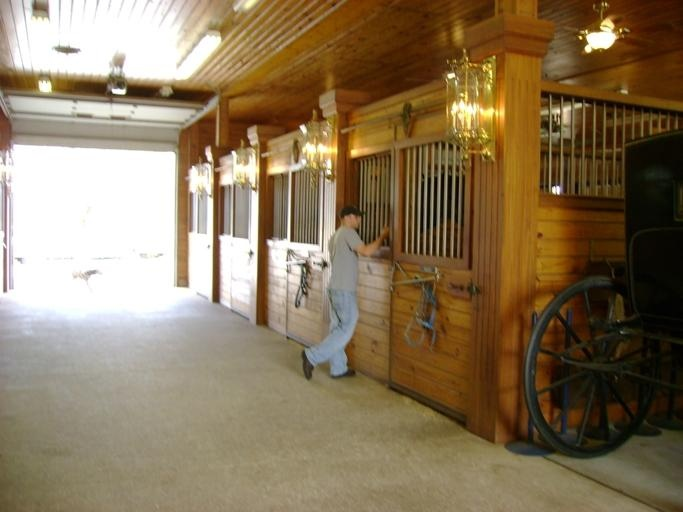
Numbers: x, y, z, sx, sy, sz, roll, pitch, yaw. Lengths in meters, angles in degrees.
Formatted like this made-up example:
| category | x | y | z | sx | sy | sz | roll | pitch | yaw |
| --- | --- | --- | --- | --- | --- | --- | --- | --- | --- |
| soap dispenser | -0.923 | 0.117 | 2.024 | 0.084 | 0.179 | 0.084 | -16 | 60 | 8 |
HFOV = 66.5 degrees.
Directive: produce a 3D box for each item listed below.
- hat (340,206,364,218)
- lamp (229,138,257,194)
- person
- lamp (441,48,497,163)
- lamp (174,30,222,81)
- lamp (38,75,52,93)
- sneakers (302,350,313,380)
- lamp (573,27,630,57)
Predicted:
| category | x | y | z | sx | sy | sz | roll | pitch | yaw |
| --- | --- | --- | --- | --- | --- | --- | --- | --- | --- |
| hat | 0.104 | -0.456 | 5.442 | 0.176 | 0.081 | 0.119 | 0 | 3 | -14 |
| lamp | -1.606 | -1.497 | 8.626 | 0.372 | 0.853 | 1.251 | -1 | 5 | -12 |
| person | 0.033 | 0.382 | 5.510 | 0.862 | 1.811 | 0.706 | 1 | 5 | 7 |
| lamp | 0.994 | -1.135 | 4.001 | 0.369 | 0.805 | 0.200 | 1 | 4 | 10 |
| lamp | -1.960 | -2.830 | 7.235 | 0.221 | 0.117 | 1.447 | 29 | -22 | -20 |
| lamp | -5.274 | -3.072 | 9.273 | 0.223 | 0.351 | 0.183 | -2 | 6 | -24 |
| sneakers | -0.366 | 1.139 | 5.475 | 0.114 | 0.317 | 0.112 | -5 | 6 | 8 |
| lamp | 3.081 | -2.545 | 6.166 | 0.386 | 0.221 | 0.419 | 0 | 8 | 0 |
